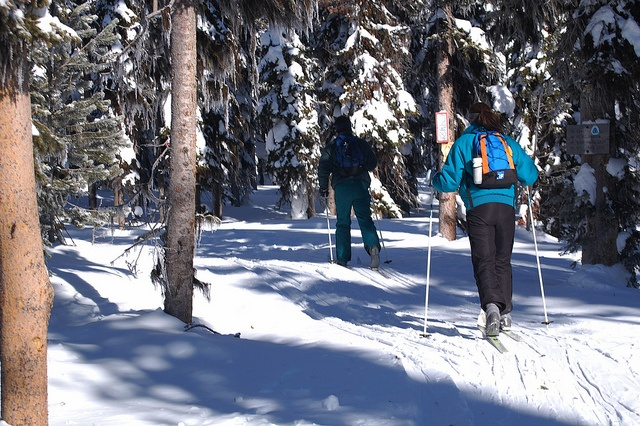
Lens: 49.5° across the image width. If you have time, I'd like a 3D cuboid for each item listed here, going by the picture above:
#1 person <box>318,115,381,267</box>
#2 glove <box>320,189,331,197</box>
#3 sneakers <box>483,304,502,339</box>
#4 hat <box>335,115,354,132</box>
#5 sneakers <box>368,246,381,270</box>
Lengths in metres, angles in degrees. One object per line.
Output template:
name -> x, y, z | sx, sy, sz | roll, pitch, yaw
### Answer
person -> 0.622, -0.215, 14.750 | 1.254, 2.780, 0.441 | 0, 12, 2
glove -> 0.105, -0.445, 14.939 | 0.150, 0.173, 0.245 | -4, -7, 2
sneakers -> 2.743, 1.712, 11.108 | 0.206, 0.483, 0.169 | 2, 13, 9
hat -> 0.491, -1.942, 14.824 | 0.260, 0.380, 0.342 | 5, 13, 16
sneakers -> 1.171, 0.956, 14.953 | 0.159, 0.589, 0.250 | 1, 32, 2
